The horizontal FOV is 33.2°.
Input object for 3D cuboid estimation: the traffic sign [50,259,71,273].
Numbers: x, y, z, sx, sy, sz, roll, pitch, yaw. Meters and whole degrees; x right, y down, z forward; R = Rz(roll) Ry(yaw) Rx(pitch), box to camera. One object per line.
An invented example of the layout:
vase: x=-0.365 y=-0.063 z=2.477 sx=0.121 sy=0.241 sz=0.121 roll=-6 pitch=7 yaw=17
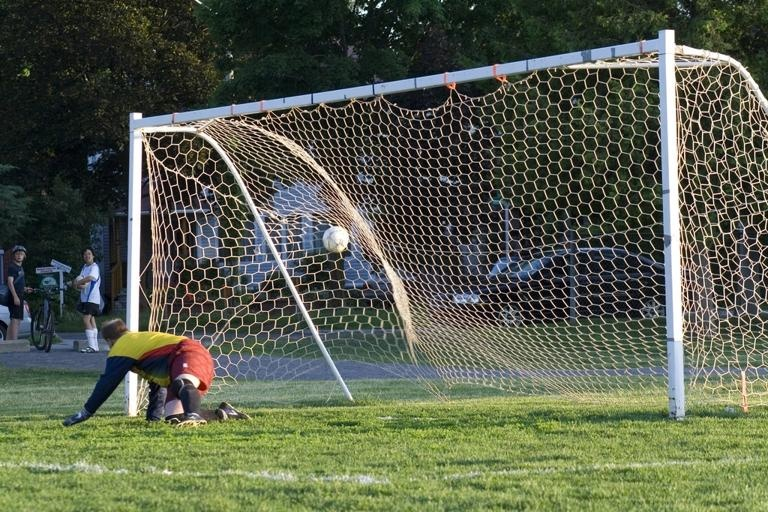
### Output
traffic sign: x=-8.800 y=0.273 z=34.992 sx=0.376 sy=0.127 sz=0.370 roll=18 pitch=-5 yaw=7

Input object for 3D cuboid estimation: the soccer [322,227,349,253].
soccer: x=-0.927 y=-0.309 z=25.393 sx=0.529 sy=0.533 sz=0.390 roll=-2 pitch=13 yaw=-3

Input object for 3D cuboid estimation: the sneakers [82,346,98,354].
sneakers: x=-7.082 y=2.252 z=30.832 sx=0.426 sy=0.168 sz=0.160 roll=2 pitch=-3 yaw=18

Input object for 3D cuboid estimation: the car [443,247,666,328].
car: x=4.456 y=0.596 z=30.474 sx=5.120 sy=1.544 sz=2.140 roll=2 pitch=-5 yaw=-13

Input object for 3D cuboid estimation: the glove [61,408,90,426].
glove: x=-5.593 y=2.911 z=23.375 sx=0.507 sy=0.336 sz=0.370 roll=-5 pitch=13 yaw=-15
